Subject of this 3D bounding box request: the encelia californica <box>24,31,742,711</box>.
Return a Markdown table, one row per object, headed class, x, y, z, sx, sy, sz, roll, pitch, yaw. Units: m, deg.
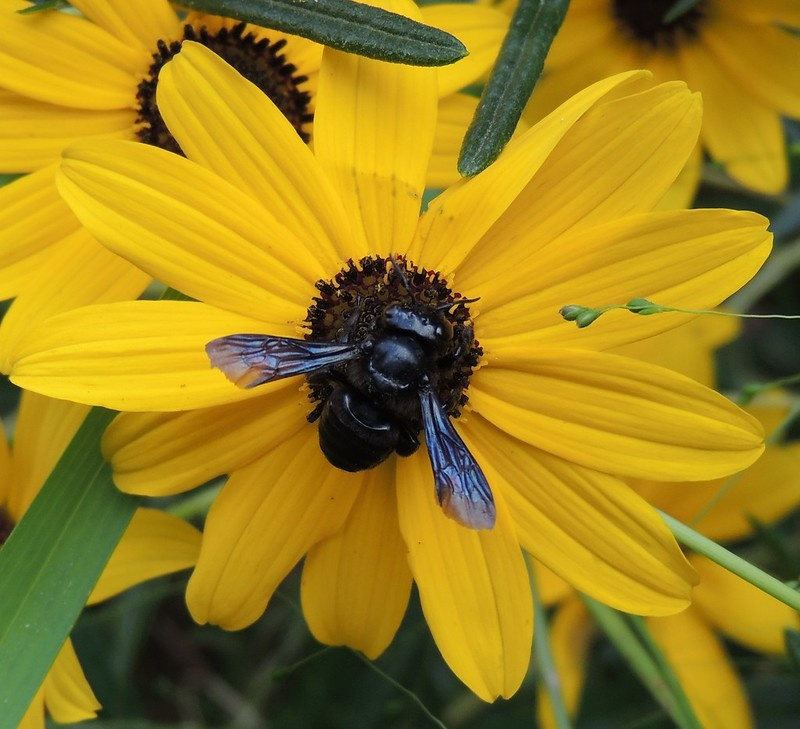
| class | x | y | z | sx | sy | sz | roll | pitch | yaw |
| --- | --- | --- | --- | --- | --- | --- | --- | --- | --- |
| encelia californica | -0.004 | 0.007 | 1.147 | 0.827 | 0.753 | 0.237 | -1 | -8 | -1 |
